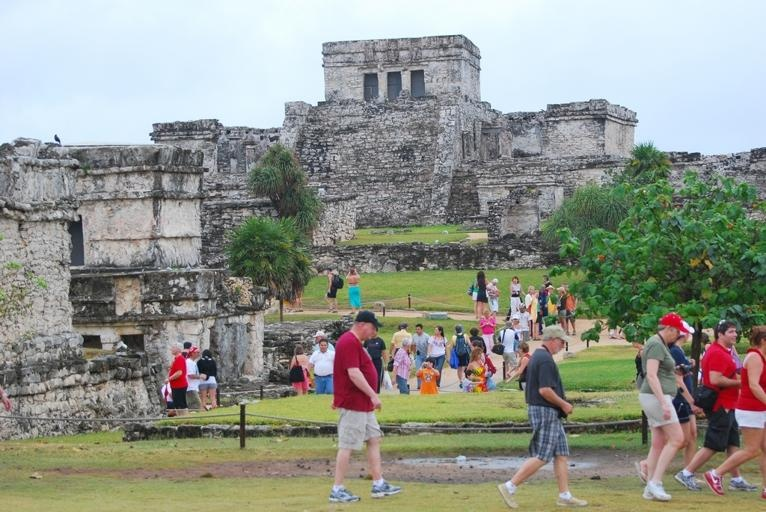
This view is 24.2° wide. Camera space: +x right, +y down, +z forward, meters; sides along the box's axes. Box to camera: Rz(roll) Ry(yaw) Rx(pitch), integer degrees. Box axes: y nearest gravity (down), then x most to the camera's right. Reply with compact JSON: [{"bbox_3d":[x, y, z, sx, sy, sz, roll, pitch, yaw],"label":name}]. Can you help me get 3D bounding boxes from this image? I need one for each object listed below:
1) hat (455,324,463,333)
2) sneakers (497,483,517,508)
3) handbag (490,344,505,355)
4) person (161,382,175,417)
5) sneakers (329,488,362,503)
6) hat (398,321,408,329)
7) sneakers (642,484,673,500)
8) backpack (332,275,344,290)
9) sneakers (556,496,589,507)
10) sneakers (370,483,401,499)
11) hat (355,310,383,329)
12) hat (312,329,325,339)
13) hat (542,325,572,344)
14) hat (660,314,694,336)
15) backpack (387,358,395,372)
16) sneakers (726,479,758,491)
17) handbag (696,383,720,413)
[{"bbox_3d":[1.800,1.742,42.447,0.174,0.174,0.177,6,19,19],"label":"hat"},{"bbox_3d":[2.206,4.200,31.569,0.260,0.527,0.214,-24,6,6],"label":"sneakers"},{"bbox_3d":[2.769,2.234,43.040,0.281,0.269,0.198,11,-3,-5],"label":"handbag"},{"bbox_3d":[-4.714,3.136,39.350,0.274,0.709,0.495,0,-2,-36],"label":"person"},{"bbox_3d":[-0.686,4.227,31.808,0.619,0.258,0.213,3,0,-2],"label":"sneakers"},{"bbox_3d":[0.476,1.706,42.608,0.179,0.202,0.225,2,11,7],"label":"hat"},{"bbox_3d":[4.902,4.180,31.887,0.551,0.217,0.232,3,0,22],"label":"sneakers"},{"bbox_3d":[-1.241,0.752,51.242,0.314,0.376,0.413,10,-9,-13],"label":"backpack"},{"bbox_3d":[3.342,4.295,31.575,0.497,0.166,0.188,0,0,2],"label":"sneakers"},{"bbox_3d":[0.028,4.175,32.026,0.566,0.254,0.216,-3,2,-5],"label":"sneakers"},{"bbox_3d":[-0.252,1.152,32.475,0.442,0.233,0.300,4,2,-9],"label":"hat"},{"bbox_3d":[-1.446,1.814,40.953,0.315,0.147,0.457,1,-1,7],"label":"hat"},{"bbox_3d":[3.107,1.394,32.032,0.413,0.199,0.253,-2,5,-12],"label":"hat"},{"bbox_3d":[5.404,1.261,33.013,0.646,0.323,0.389,6,12,-10],"label":"hat"},{"bbox_3d":[0.170,2.612,43.239,0.284,0.272,0.108,7,-16,47],"label":"backpack"},{"bbox_3d":[6.556,4.148,32.609,0.516,0.206,0.180,2,-1,3],"label":"sneakers"},{"bbox_3d":[5.940,2.572,32.572,0.311,0.486,0.548,10,-5,-32],"label":"handbag"}]
